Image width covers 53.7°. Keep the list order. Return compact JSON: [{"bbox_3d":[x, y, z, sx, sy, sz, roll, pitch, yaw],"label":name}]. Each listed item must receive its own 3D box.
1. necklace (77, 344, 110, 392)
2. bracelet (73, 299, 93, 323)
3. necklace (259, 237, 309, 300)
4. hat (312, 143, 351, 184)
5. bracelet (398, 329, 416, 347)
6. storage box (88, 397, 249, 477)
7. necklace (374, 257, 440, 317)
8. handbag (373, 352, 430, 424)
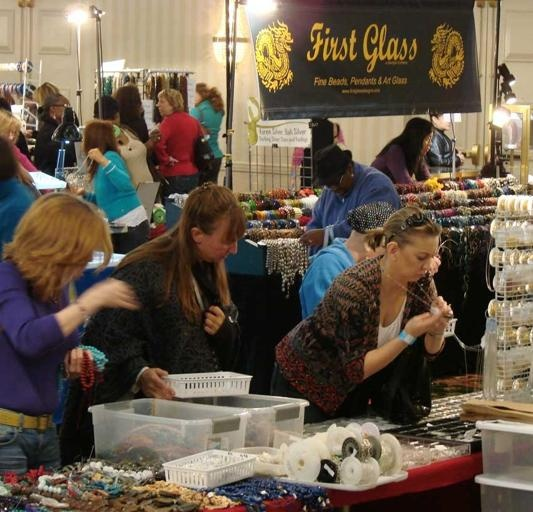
[{"bbox_3d":[-0.540,0.340,1.695,0.064,0.154,0.103,7,2,25],"label":"necklace"},{"bbox_3d":[-0.458,0.151,1.358,0.012,0.056,0.049,-32,6,4],"label":"bracelet"},{"bbox_3d":[0.147,0.098,4.070,0.320,0.625,0.391,1,-1,-5],"label":"necklace"},{"bbox_3d":[0.470,-0.608,3.546,0.249,0.268,0.227,-1,1,2],"label":"hat"},{"bbox_3d":[0.493,0.293,1.855,0.034,0.052,0.052,-45,-8,13],"label":"bracelet"},{"bbox_3d":[-0.252,0.431,1.446,0.305,0.146,0.211,-3,-5,33],"label":"storage box"},{"bbox_3d":[0.506,0.117,1.941,0.140,0.192,0.071,-42,27,-17],"label":"necklace"},{"bbox_3d":[0.553,0.489,2.147,0.250,0.297,0.179,-10,11,-37],"label":"handbag"}]
